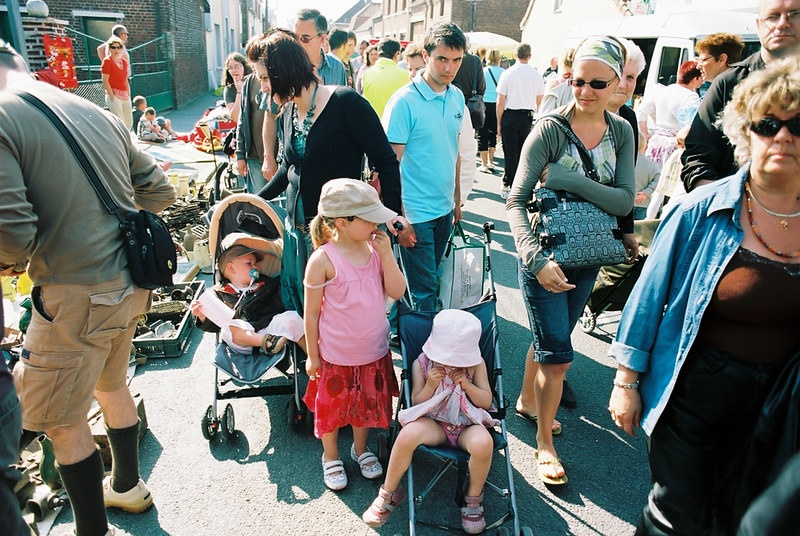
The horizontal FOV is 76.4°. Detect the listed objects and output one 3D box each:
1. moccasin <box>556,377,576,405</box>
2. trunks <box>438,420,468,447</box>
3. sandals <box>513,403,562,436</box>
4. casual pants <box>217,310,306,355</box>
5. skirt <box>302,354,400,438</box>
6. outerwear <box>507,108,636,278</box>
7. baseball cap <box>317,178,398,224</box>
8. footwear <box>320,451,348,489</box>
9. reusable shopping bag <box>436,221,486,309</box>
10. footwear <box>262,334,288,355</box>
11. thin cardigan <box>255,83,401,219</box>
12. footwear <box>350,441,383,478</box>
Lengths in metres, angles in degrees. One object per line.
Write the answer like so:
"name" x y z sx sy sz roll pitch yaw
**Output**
"moccasin" 1.454 1.091 4.527 0.140 0.150 0.376 -1 10 5
"trunks" 0.337 1.063 3.344 0.057 0.161 0.119 1 19 -38
"sandals" 1.150 1.233 4.219 0.145 0.097 0.370 -22 26 -32
"casual pants" -1.031 0.523 4.189 0.416 0.180 0.395 2 36 -1
"skirt" -0.384 0.874 3.831 0.714 0.663 0.527 1 3 -15
"outerwear" 1.155 -0.390 3.621 0.851 1.140 0.399 -2 0 -10
"baseball cap" -0.300 -0.379 3.295 0.408 0.194 0.265 1 21 1
"footwear" -0.474 1.448 3.655 0.189 0.188 0.156 1 21 -1
"reusable shopping bag" 0.513 0.043 4.395 0.313 0.828 0.569 -2 30 -9
"footwear" -0.993 0.606 3.963 0.121 0.108 0.178 8 9 -3
"thin cardigan" -0.564 -0.795 3.881 1.447 1.038 0.564 9 19 21
"footwear" -0.258 1.399 3.768 0.125 0.113 0.310 -8 9 -27
